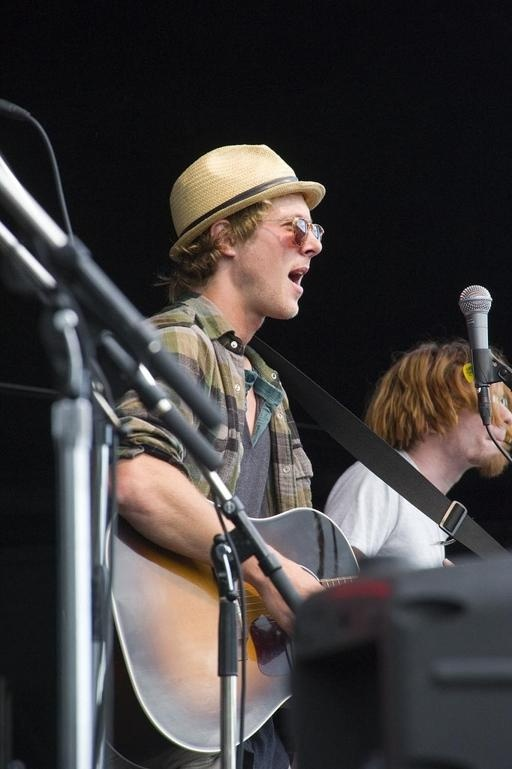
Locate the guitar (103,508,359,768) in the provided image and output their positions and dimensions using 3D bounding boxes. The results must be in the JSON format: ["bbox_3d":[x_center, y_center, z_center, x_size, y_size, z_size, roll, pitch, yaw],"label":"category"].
[{"bbox_3d":[-0.037,0.513,2.661,0.539,0.495,0.156,1,-6,-42],"label":"guitar"}]

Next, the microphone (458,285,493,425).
[{"bbox_3d":[0.519,-0.071,3.045,0.070,0.334,0.107,-4,-4,8],"label":"microphone"}]

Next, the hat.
[{"bbox_3d":[-0.050,-0.423,3.043,0.313,0.145,0.270,-24,-1,22],"label":"hat"}]
